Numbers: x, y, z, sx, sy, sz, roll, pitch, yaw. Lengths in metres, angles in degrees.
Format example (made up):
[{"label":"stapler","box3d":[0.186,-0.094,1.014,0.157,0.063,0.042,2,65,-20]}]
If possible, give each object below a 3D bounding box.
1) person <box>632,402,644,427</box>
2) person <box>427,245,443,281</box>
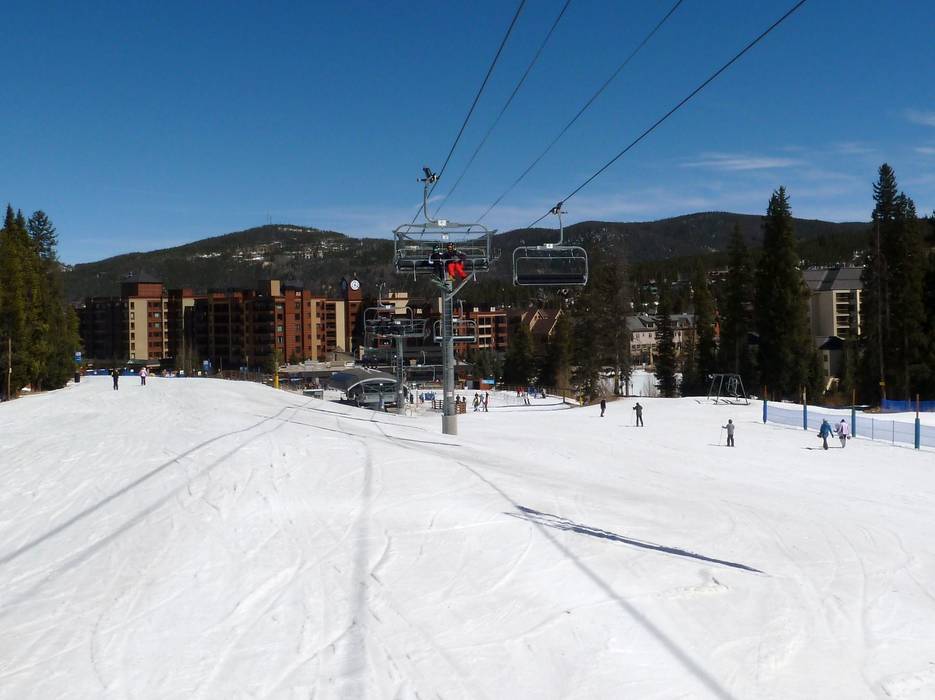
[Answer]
[{"label":"person","box3d":[8.918,3.383,46.200,0.483,1.191,1.769,3,9,12]},{"label":"person","box3d":[-1.166,-3.270,33.722,0.342,1.005,0.639,-2,6,-36]}]
